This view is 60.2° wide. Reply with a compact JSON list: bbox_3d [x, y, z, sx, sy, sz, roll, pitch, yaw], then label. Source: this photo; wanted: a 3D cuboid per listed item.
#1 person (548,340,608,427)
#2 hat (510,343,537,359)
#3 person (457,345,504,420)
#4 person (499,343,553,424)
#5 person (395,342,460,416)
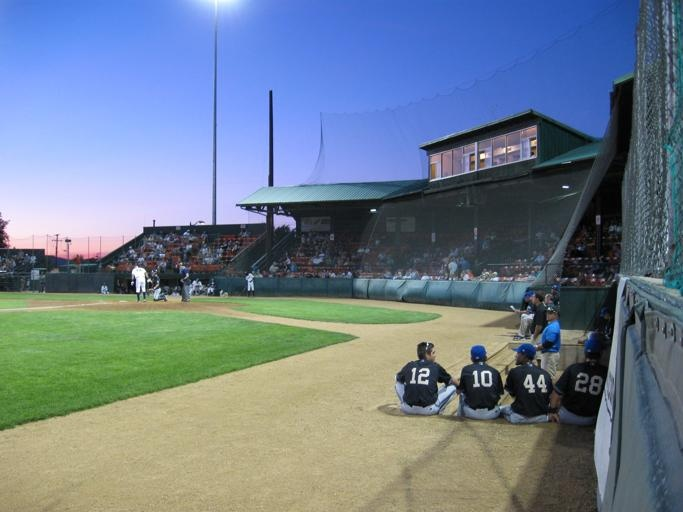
[{"bbox_3d":[3.399,1.866,8.521,0.636,1.525,0.857,6,32,14],"label":"person"},{"bbox_3d":[2.658,1.388,8.751,0.355,0.208,0.265,28,10,30],"label":"hat"},{"bbox_3d":[2.054,1.877,8.740,0.653,1.080,0.275,2,2,13],"label":"person"},{"bbox_3d":[2.719,1.838,8.820,0.929,1.389,0.892,0,0,13],"label":"person"},{"bbox_3d":[1.302,1.975,9.247,1.045,1.229,0.956,2,7,23],"label":"person"}]
